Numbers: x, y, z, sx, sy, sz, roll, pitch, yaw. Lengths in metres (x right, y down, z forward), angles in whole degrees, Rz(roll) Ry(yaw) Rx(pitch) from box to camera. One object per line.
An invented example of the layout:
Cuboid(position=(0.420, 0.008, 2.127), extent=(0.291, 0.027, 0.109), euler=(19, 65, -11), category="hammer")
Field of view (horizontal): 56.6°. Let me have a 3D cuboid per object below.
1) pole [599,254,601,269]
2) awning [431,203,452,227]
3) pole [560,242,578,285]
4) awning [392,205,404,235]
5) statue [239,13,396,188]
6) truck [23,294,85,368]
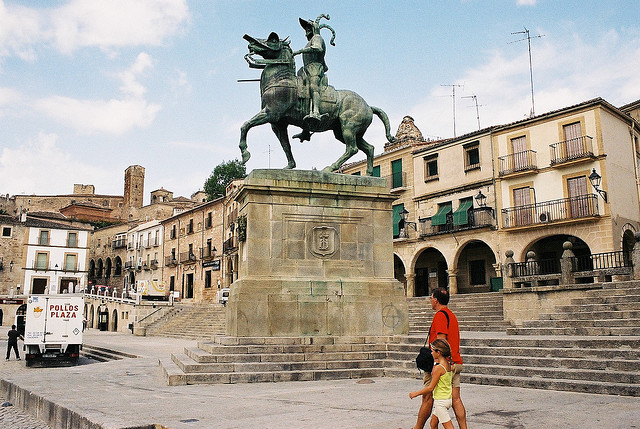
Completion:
Cuboid(position=(13.668, 2.308, 29.054), extent=(0.051, 0.508, 0.767), euler=(-5, -14, 25), category="pole")
Cuboid(position=(7.724, 0.014, 37.727), extent=(0.834, 1.465, 1.145), euler=(17, -19, -25), category="awning")
Cuboid(position=(9.347, 1.775, 22.335), extent=(0.713, 1.488, 0.741), euler=(-6, -3, 19), category="pole")
Cuboid(position=(4.885, 0.387, 37.303), extent=(0.659, 1.672, 1.805), euler=(4, -12, -13), category="awning")
Cuboid(position=(-0.159, -3.784, 19.184), extent=(5.053, 5.737, 2.198), euler=(3, 0, -10), category="statue")
Cuboid(position=(-10.617, 4.647, 23.783), extent=(1.954, 1.919, 3.596), euler=(4, -14, -19), category="truck")
